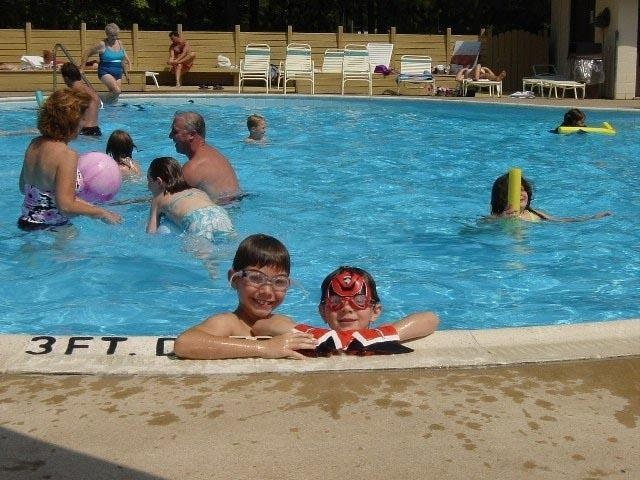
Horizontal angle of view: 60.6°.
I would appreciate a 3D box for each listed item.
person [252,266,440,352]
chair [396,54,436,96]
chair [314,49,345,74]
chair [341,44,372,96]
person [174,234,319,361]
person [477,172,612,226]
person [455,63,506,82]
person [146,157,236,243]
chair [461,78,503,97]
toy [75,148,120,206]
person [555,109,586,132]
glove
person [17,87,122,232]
[{"bbox_3d":[0.129,0.373,2.869,0.975,0.328,0.508,3,-1,0],"label":"person"},{"bbox_3d":[3.204,-5.338,17.422,1.558,1.034,1.838,2,15,3],"label":"chair"},{"bbox_3d":[0.391,-5.696,17.569,0.967,0.681,1.345,4,31,8],"label":"chair"},{"bbox_3d":[1.161,-5.289,17.274,1.007,1.461,2.119,2,11,3],"label":"chair"},{"bbox_3d":[-0.365,0.304,2.872,0.894,0.526,0.530,7,4,-42],"label":"person"},{"bbox_3d":[2.322,-0.472,6.069,0.832,0.606,1.744,9,13,38],"label":"person"},{"bbox_3d":[5.092,-5.360,17.588,1.292,0.591,1.181,1,10,2],"label":"person"},{"bbox_3d":[-1.235,-0.380,4.937,0.777,0.725,0.354,5,13,20],"label":"person"},{"bbox_3d":[5.210,-4.977,17.832,1.498,0.534,1.733,-5,17,-11],"label":"chair"},{"bbox_3d":[-2.247,-0.646,5.753,0.621,0.583,0.485,0,54,-10],"label":"toy"},{"bbox_3d":[4.797,-2.299,10.520,0.514,0.467,0.771,5,11,20],"label":"person"},{"bbox_3d":[0.187,0.490,2.663,0.501,0.109,0.182,1,11,5],"label":"glove"},{"bbox_3d":[-2.215,-0.657,4.690,0.748,1.210,0.394,10,16,36],"label":"person"}]
